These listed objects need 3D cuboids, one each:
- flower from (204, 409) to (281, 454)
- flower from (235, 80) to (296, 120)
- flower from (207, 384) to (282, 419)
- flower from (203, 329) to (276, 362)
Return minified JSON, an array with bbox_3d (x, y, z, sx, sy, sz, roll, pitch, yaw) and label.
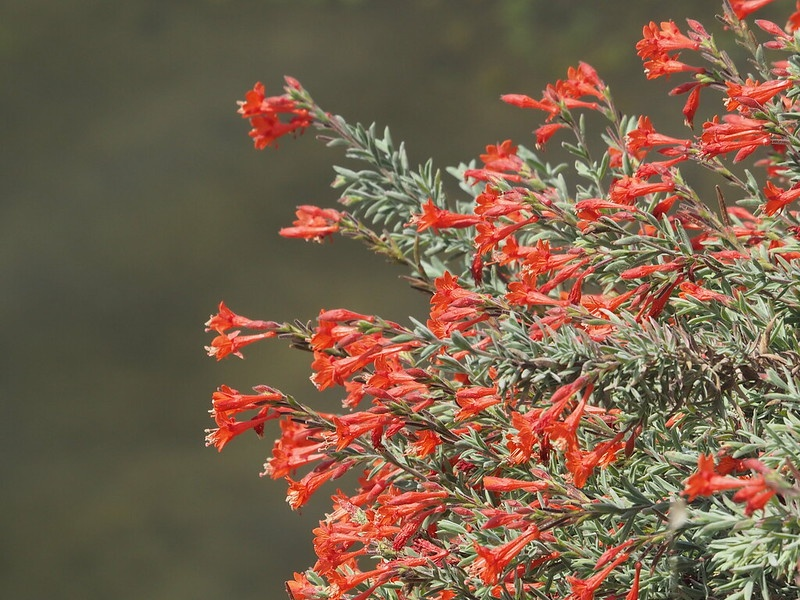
[{"bbox_3d":[-0.471,0.360,4.135,0.218,0.121,0.084,-20,46,-4],"label":"flower"},{"bbox_3d":[-0.405,-0.605,4.249,0.166,0.097,0.076,9,-3,-19],"label":"flower"},{"bbox_3d":[-0.467,0.292,4.101,0.164,0.082,0.094,0,46,0],"label":"flower"},{"bbox_3d":[-0.470,0.126,4.158,0.177,0.099,0.072,-15,27,2],"label":"flower"}]
